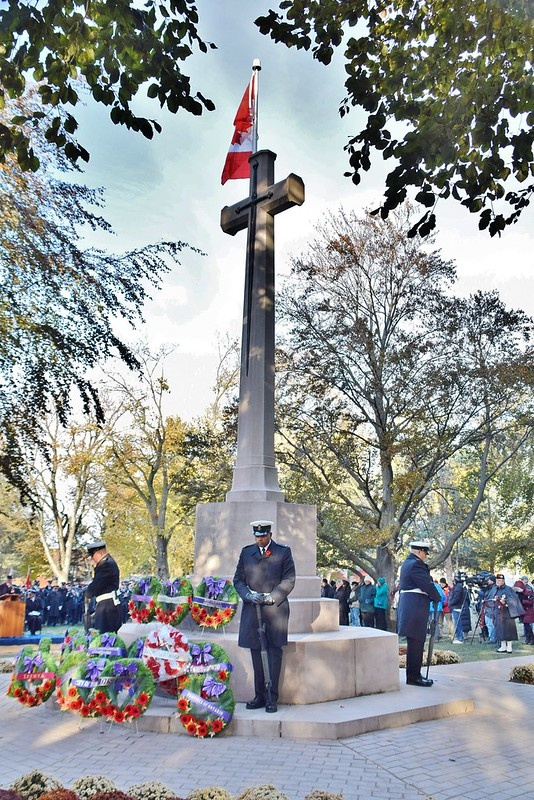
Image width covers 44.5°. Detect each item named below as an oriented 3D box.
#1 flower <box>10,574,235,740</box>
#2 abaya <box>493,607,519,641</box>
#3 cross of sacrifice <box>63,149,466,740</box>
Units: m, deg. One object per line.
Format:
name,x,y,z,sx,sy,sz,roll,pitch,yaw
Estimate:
flower,-1.322,2.555,6.754,2.517,1.440,1.399,-2,-16,21
abaya,5.627,5.375,15.520,0.357,0.862,0.622,10,-16,-23
cross of sacrifice,-0.125,0.282,8.879,4.902,7.271,4.831,14,-21,-40
